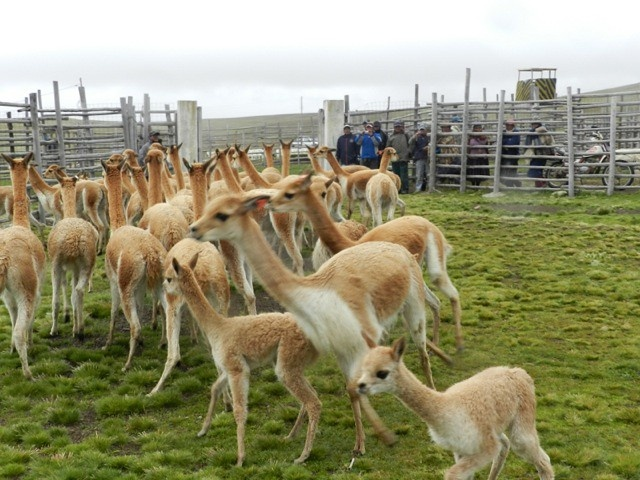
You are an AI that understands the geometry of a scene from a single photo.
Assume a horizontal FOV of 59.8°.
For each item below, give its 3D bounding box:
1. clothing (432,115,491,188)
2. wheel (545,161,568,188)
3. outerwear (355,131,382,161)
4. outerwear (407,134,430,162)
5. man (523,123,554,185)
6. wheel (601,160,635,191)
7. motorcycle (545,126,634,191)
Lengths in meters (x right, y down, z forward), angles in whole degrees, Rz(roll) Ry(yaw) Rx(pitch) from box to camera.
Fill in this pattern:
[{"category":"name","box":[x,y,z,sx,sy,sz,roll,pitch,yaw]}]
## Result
[{"category":"clothing","box":[5.041,-3.041,19.661,2.130,2.503,0.614,3,5,31]},{"category":"wheel","box":[7.825,-2.080,18.377,0.237,0.872,0.797,-5,-5,-40]},{"category":"outerwear","box":[1.730,-3.402,19.839,1.078,1.399,0.835,-1,-18,4]},{"category":"outerwear","box":[3.561,-3.271,20.190,0.970,1.351,0.777,-1,4,-5]},{"category":"man","box":[7.390,-2.850,18.749,0.881,2.386,1.153,3,8,21]},{"category":"wheel","box":[9.424,-2.014,17.660,0.860,1.016,0.951,2,7,1]},{"category":"motorcycle","box":[8.956,-2.280,18.313,3.248,2.334,1.908,0,22,15]}]
